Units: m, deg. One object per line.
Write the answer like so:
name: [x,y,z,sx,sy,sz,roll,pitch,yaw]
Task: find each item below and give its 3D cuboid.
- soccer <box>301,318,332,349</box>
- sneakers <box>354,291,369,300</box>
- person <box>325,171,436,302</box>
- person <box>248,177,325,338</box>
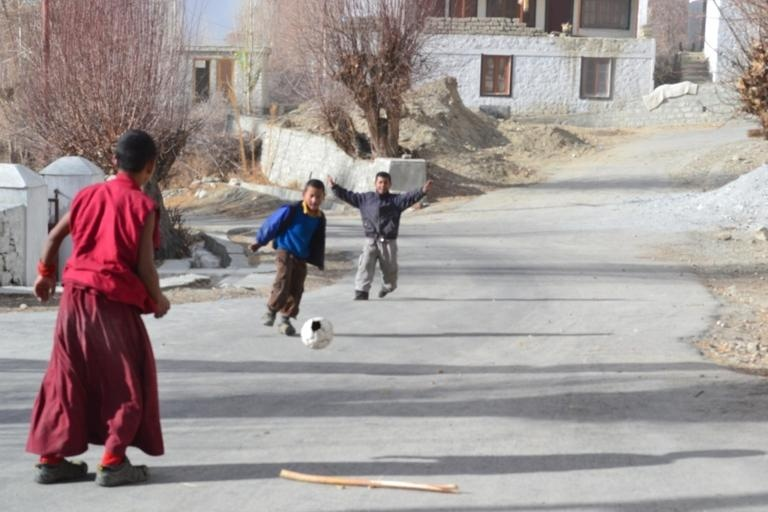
soccer: [-1.264,1.488,27.392,0.562,0.624,0.378,1,8,-3]
sneakers: [-0.488,0.850,30.274,0.228,0.140,0.173,0,11,-13]
person: [-0.125,-0.385,30.366,1.598,2.633,0.665,1,8,-2]
person: [-1.816,0.056,28.475,1.265,2.981,0.629,0,8,-7]
